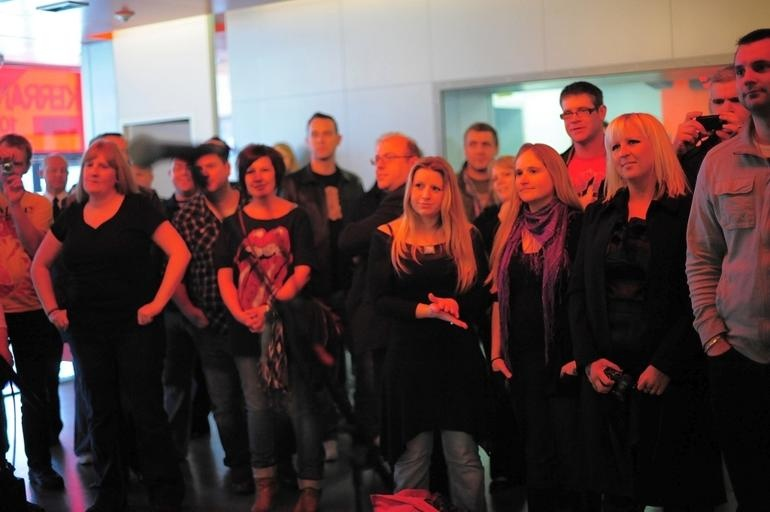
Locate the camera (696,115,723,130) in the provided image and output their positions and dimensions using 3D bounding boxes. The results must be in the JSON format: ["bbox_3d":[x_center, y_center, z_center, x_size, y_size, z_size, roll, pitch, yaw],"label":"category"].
[{"bbox_3d":[1.383,-0.563,2.818,0.103,0.069,0.029,-2,4,22],"label":"camera"}]

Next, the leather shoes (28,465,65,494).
[{"bbox_3d":[-1.954,1.294,3.831,0.275,0.115,0.097,1,-1,30],"label":"leather shoes"}]

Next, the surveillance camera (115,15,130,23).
[{"bbox_3d":[-1.518,-1.365,3.817,0.107,0.030,0.046,21,17,40],"label":"surveillance camera"}]

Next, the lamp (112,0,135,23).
[{"bbox_3d":[-1.488,-1.384,3.755,0.115,0.099,0.025,10,47,5],"label":"lamp"}]

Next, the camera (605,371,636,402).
[{"bbox_3d":[0.984,0.539,2.755,0.067,0.106,0.107,-35,-23,-31],"label":"camera"}]

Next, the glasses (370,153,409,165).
[{"bbox_3d":[0.021,-0.480,3.226,0.205,0.039,0.027,-2,4,28],"label":"glasses"}]

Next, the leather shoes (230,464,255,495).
[{"bbox_3d":[-0.761,1.198,3.517,0.185,0.161,0.120,-1,-11,6],"label":"leather shoes"}]

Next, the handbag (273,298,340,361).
[{"bbox_3d":[-0.344,0.369,3.390,0.223,0.376,0.123,-43,-2,30],"label":"handbag"}]
